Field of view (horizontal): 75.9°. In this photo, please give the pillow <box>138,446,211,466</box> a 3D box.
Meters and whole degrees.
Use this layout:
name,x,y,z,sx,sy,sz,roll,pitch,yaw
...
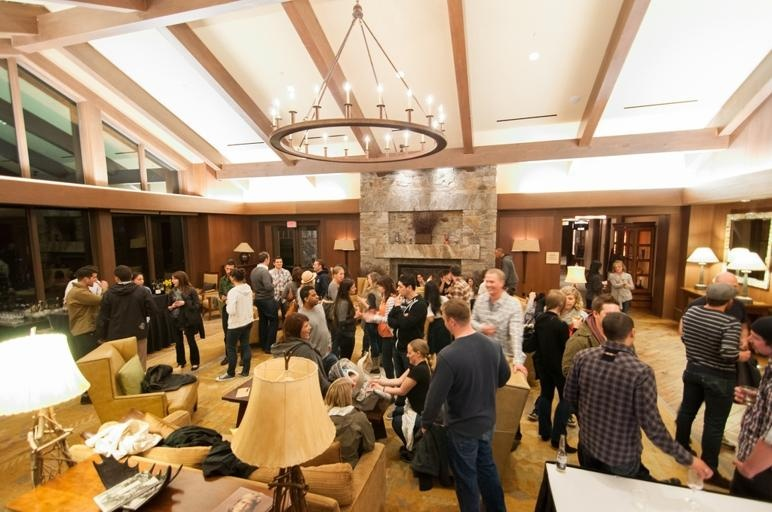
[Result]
name,x,y,z,sx,sy,sz,roll,pitch,yaw
pillow,-2.477,2.341,5.812,0.453,0.156,0.335,2,-9,1

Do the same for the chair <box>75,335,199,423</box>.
name,x,y,z,sx,sy,sz,roll,pitch,yaw
chair,-3.703,1.810,7.554,1.502,1.557,1.118,-1,15,-6

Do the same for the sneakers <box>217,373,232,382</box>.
name,x,y,z,sx,sy,sz,roll,pitch,yaw
sneakers,-2.800,2.114,8.612,0.292,0.122,0.115,4,-4,-8

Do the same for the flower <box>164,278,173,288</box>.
name,x,y,z,sx,sy,sz,roll,pitch,yaw
flower,-4.970,0.623,11.250,0.312,0.132,0.310,7,3,-19

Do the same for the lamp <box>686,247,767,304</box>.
name,x,y,z,sx,sy,sz,roll,pitch,yaw
lamp,6.442,0.348,9.219,0.462,0.685,1.195,-2,4,7

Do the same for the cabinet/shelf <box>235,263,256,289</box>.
name,x,y,z,sx,sy,sz,roll,pitch,yaw
cabinet/shelf,-2.955,0.418,10.291,0.569,0.525,0.313,-1,-4,13

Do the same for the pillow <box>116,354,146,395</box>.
name,x,y,z,sx,sy,sz,roll,pitch,yaw
pillow,-3.712,1.726,7.129,0.182,0.343,0.512,-7,9,-14

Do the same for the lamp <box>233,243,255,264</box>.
name,x,y,z,sx,sy,sz,roll,pitch,yaw
lamp,-3.860,-0.097,13.695,0.568,0.546,0.577,7,7,39

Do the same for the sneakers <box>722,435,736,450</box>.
name,x,y,z,sx,sy,sz,roll,pitch,yaw
sneakers,4.867,2.658,6.983,0.136,0.123,0.149,1,1,37

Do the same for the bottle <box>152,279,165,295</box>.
name,x,y,z,sx,sy,sz,roll,pitch,yaw
bottle,-5.067,0.693,10.924,0.148,0.380,0.149,15,16,-5

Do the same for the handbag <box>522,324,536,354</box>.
name,x,y,z,sx,sy,sz,roll,pitch,yaw
handbag,2.179,1.218,7.527,0.180,0.406,1.030,1,0,16

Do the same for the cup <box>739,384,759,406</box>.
name,x,y,z,sx,sy,sz,roll,pitch,yaw
cup,4.352,1.666,5.954,0.229,0.178,0.213,7,-4,0
